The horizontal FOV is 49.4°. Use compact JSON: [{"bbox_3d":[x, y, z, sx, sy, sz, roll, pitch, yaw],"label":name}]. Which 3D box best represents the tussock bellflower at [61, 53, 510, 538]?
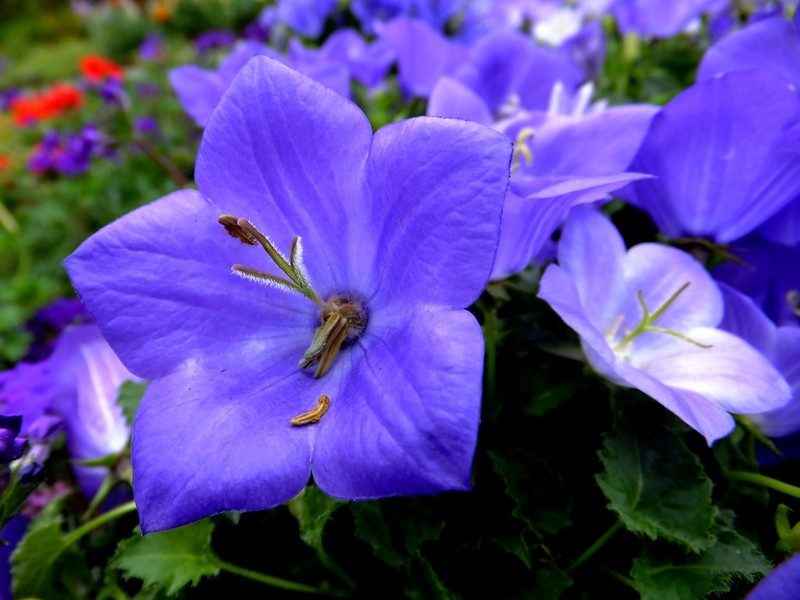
[{"bbox_3d":[-0.177,-0.034,1.353,0.726,0.434,0.572,-6,44,8],"label":"tussock bellflower"}]

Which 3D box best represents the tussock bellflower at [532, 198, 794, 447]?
[{"bbox_3d":[0.380,0.119,1.467,0.367,0.171,0.398,26,42,-1],"label":"tussock bellflower"}]
